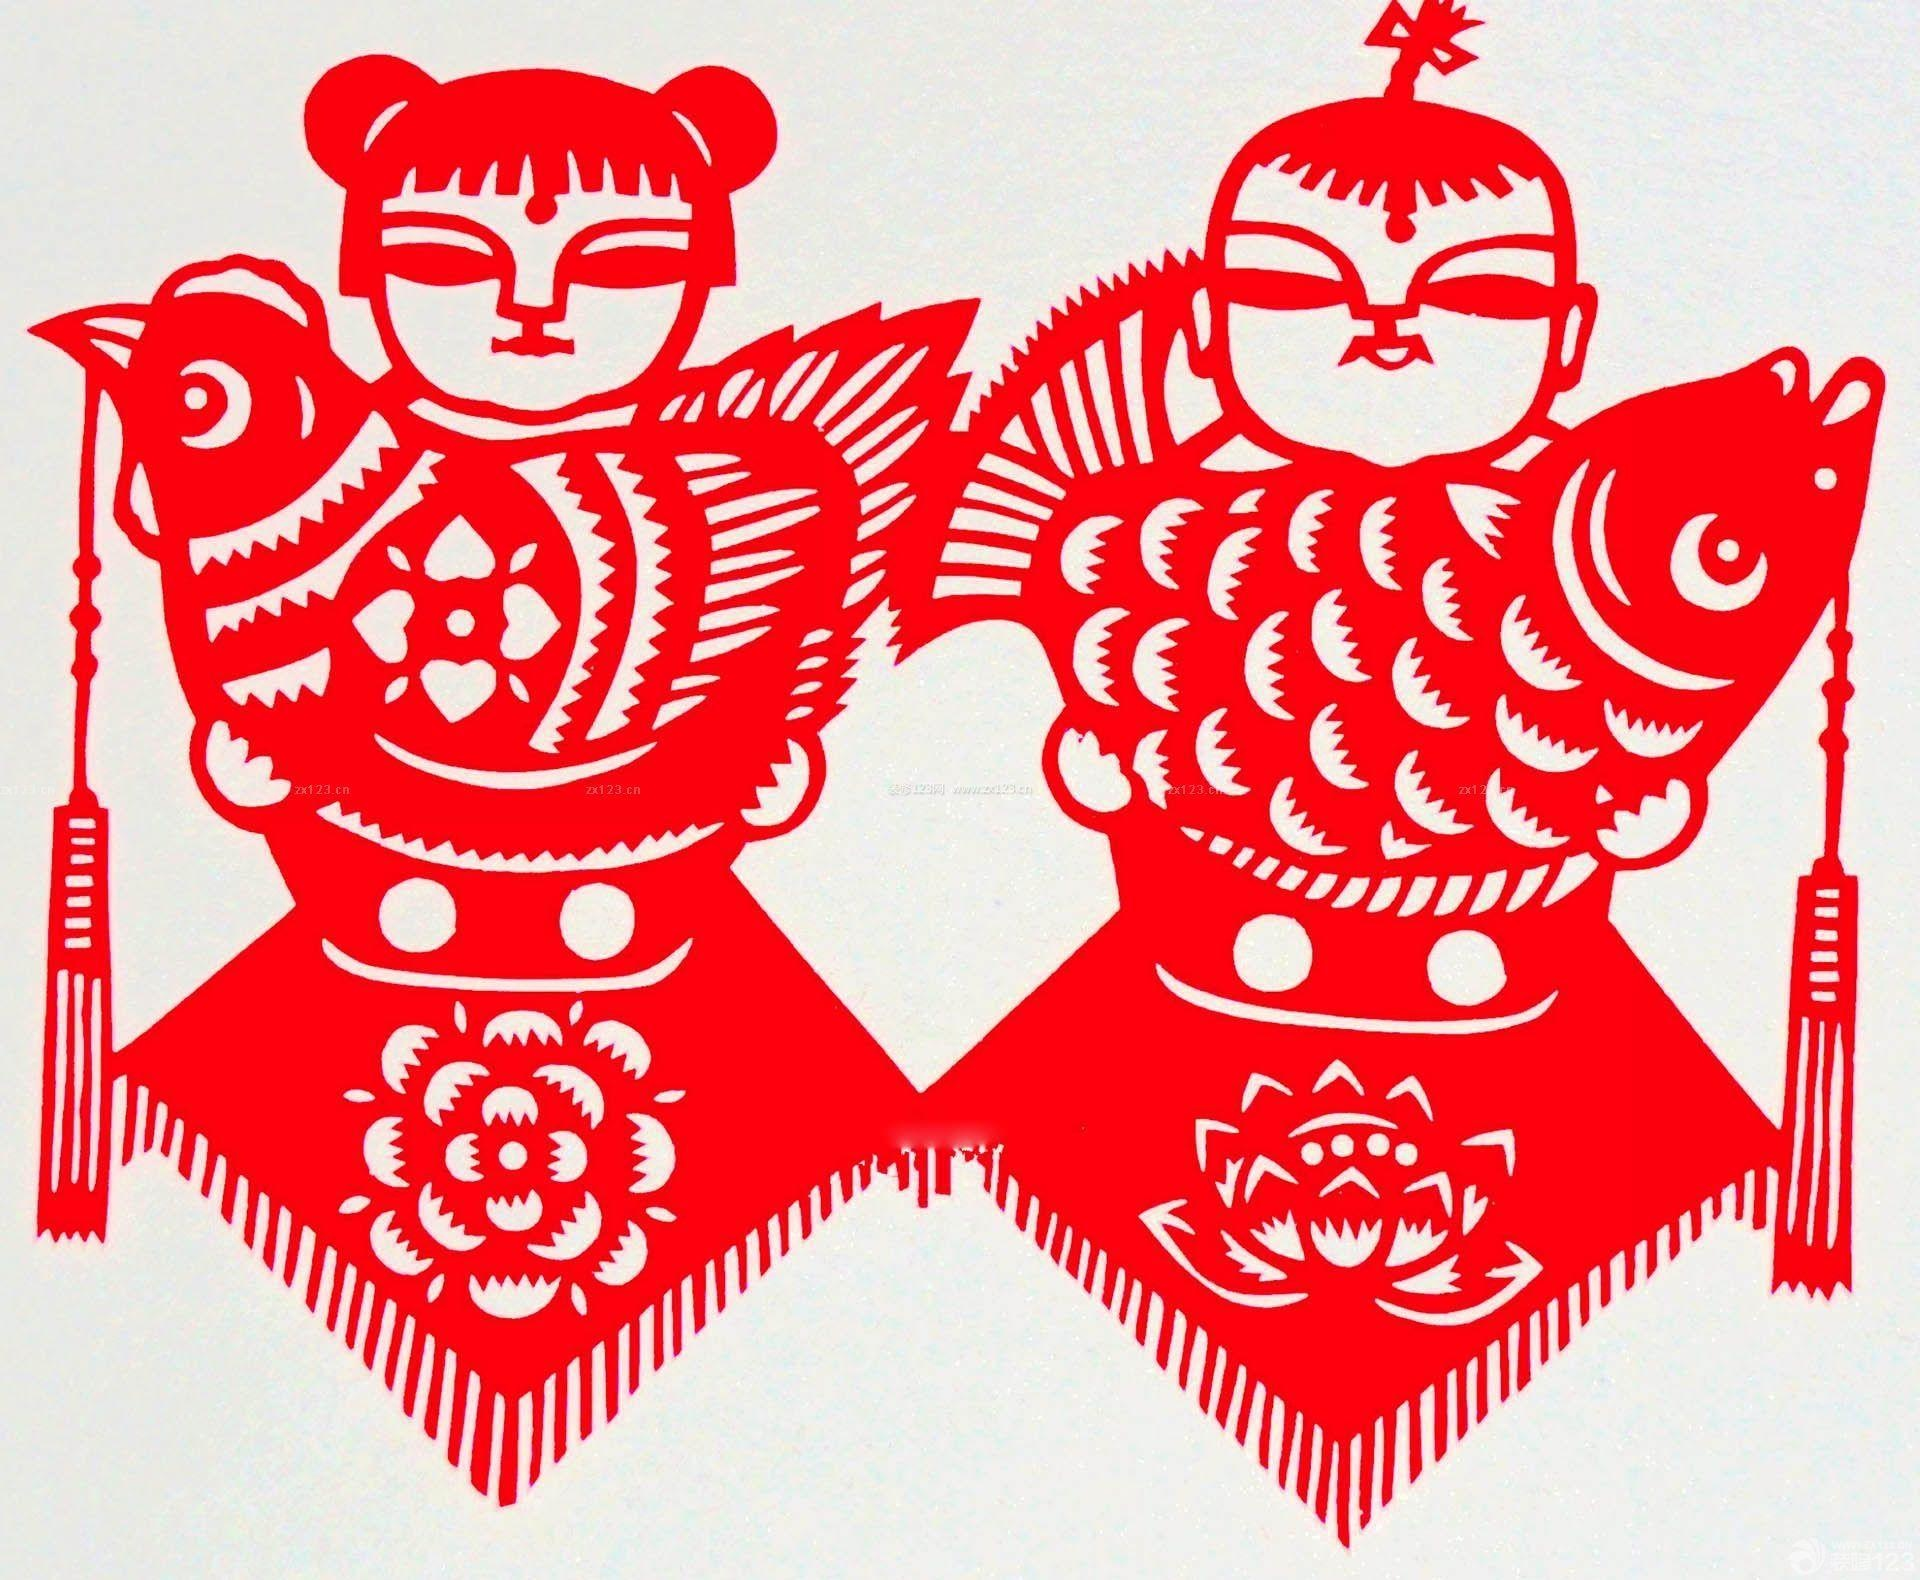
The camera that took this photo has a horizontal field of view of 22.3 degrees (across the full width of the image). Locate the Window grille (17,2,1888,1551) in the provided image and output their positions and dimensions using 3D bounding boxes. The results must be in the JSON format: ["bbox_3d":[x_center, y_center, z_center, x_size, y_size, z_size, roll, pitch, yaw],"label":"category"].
[{"bbox_3d":[-0.008,-0.033,3.508,1.373,0.772,0.845,7,44,5],"label":"Window grille"}]
